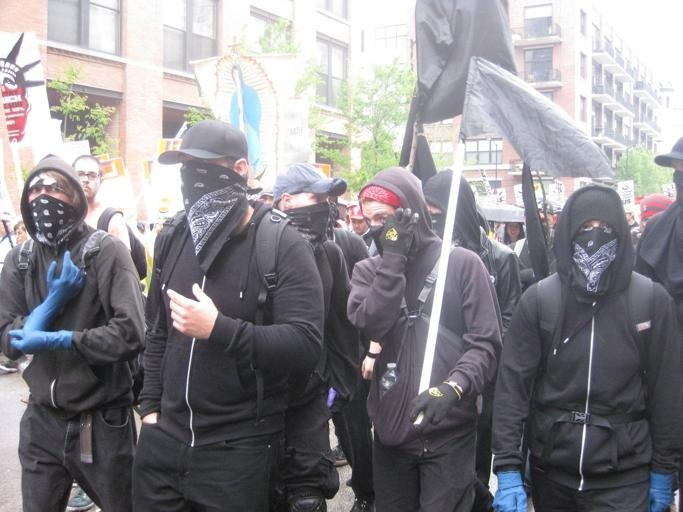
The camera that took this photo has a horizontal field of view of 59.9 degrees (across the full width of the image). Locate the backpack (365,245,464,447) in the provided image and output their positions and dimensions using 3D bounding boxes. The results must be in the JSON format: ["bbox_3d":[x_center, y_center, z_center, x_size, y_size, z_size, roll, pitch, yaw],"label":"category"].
[{"bbox_3d":[0.538,0.628,3.854,0.615,1.044,0.315,11,-2,31],"label":"backpack"}]

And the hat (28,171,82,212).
[{"bbox_3d":[-2.003,-0.454,4.138,0.233,0.238,0.267,-17,-17,-14],"label":"hat"}]
